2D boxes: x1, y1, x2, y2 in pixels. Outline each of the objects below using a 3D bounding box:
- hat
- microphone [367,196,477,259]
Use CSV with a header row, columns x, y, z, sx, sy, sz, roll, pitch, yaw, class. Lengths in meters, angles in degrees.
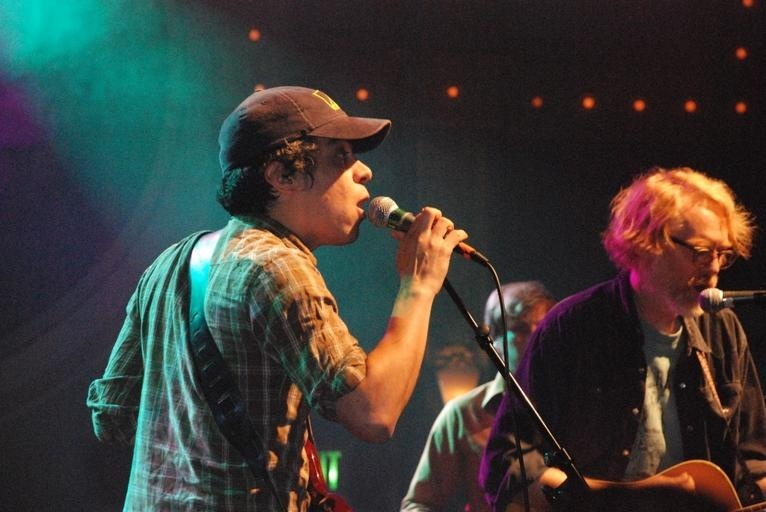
x,y,z,sx,sy,sz,roll,pitch,yaw,class
-0.390,-0.622,4.178,0.781,0.410,0.537,-13,0,0,hat
0.154,-0.130,4.060,0.482,0.184,0.188,23,-29,23,microphone
